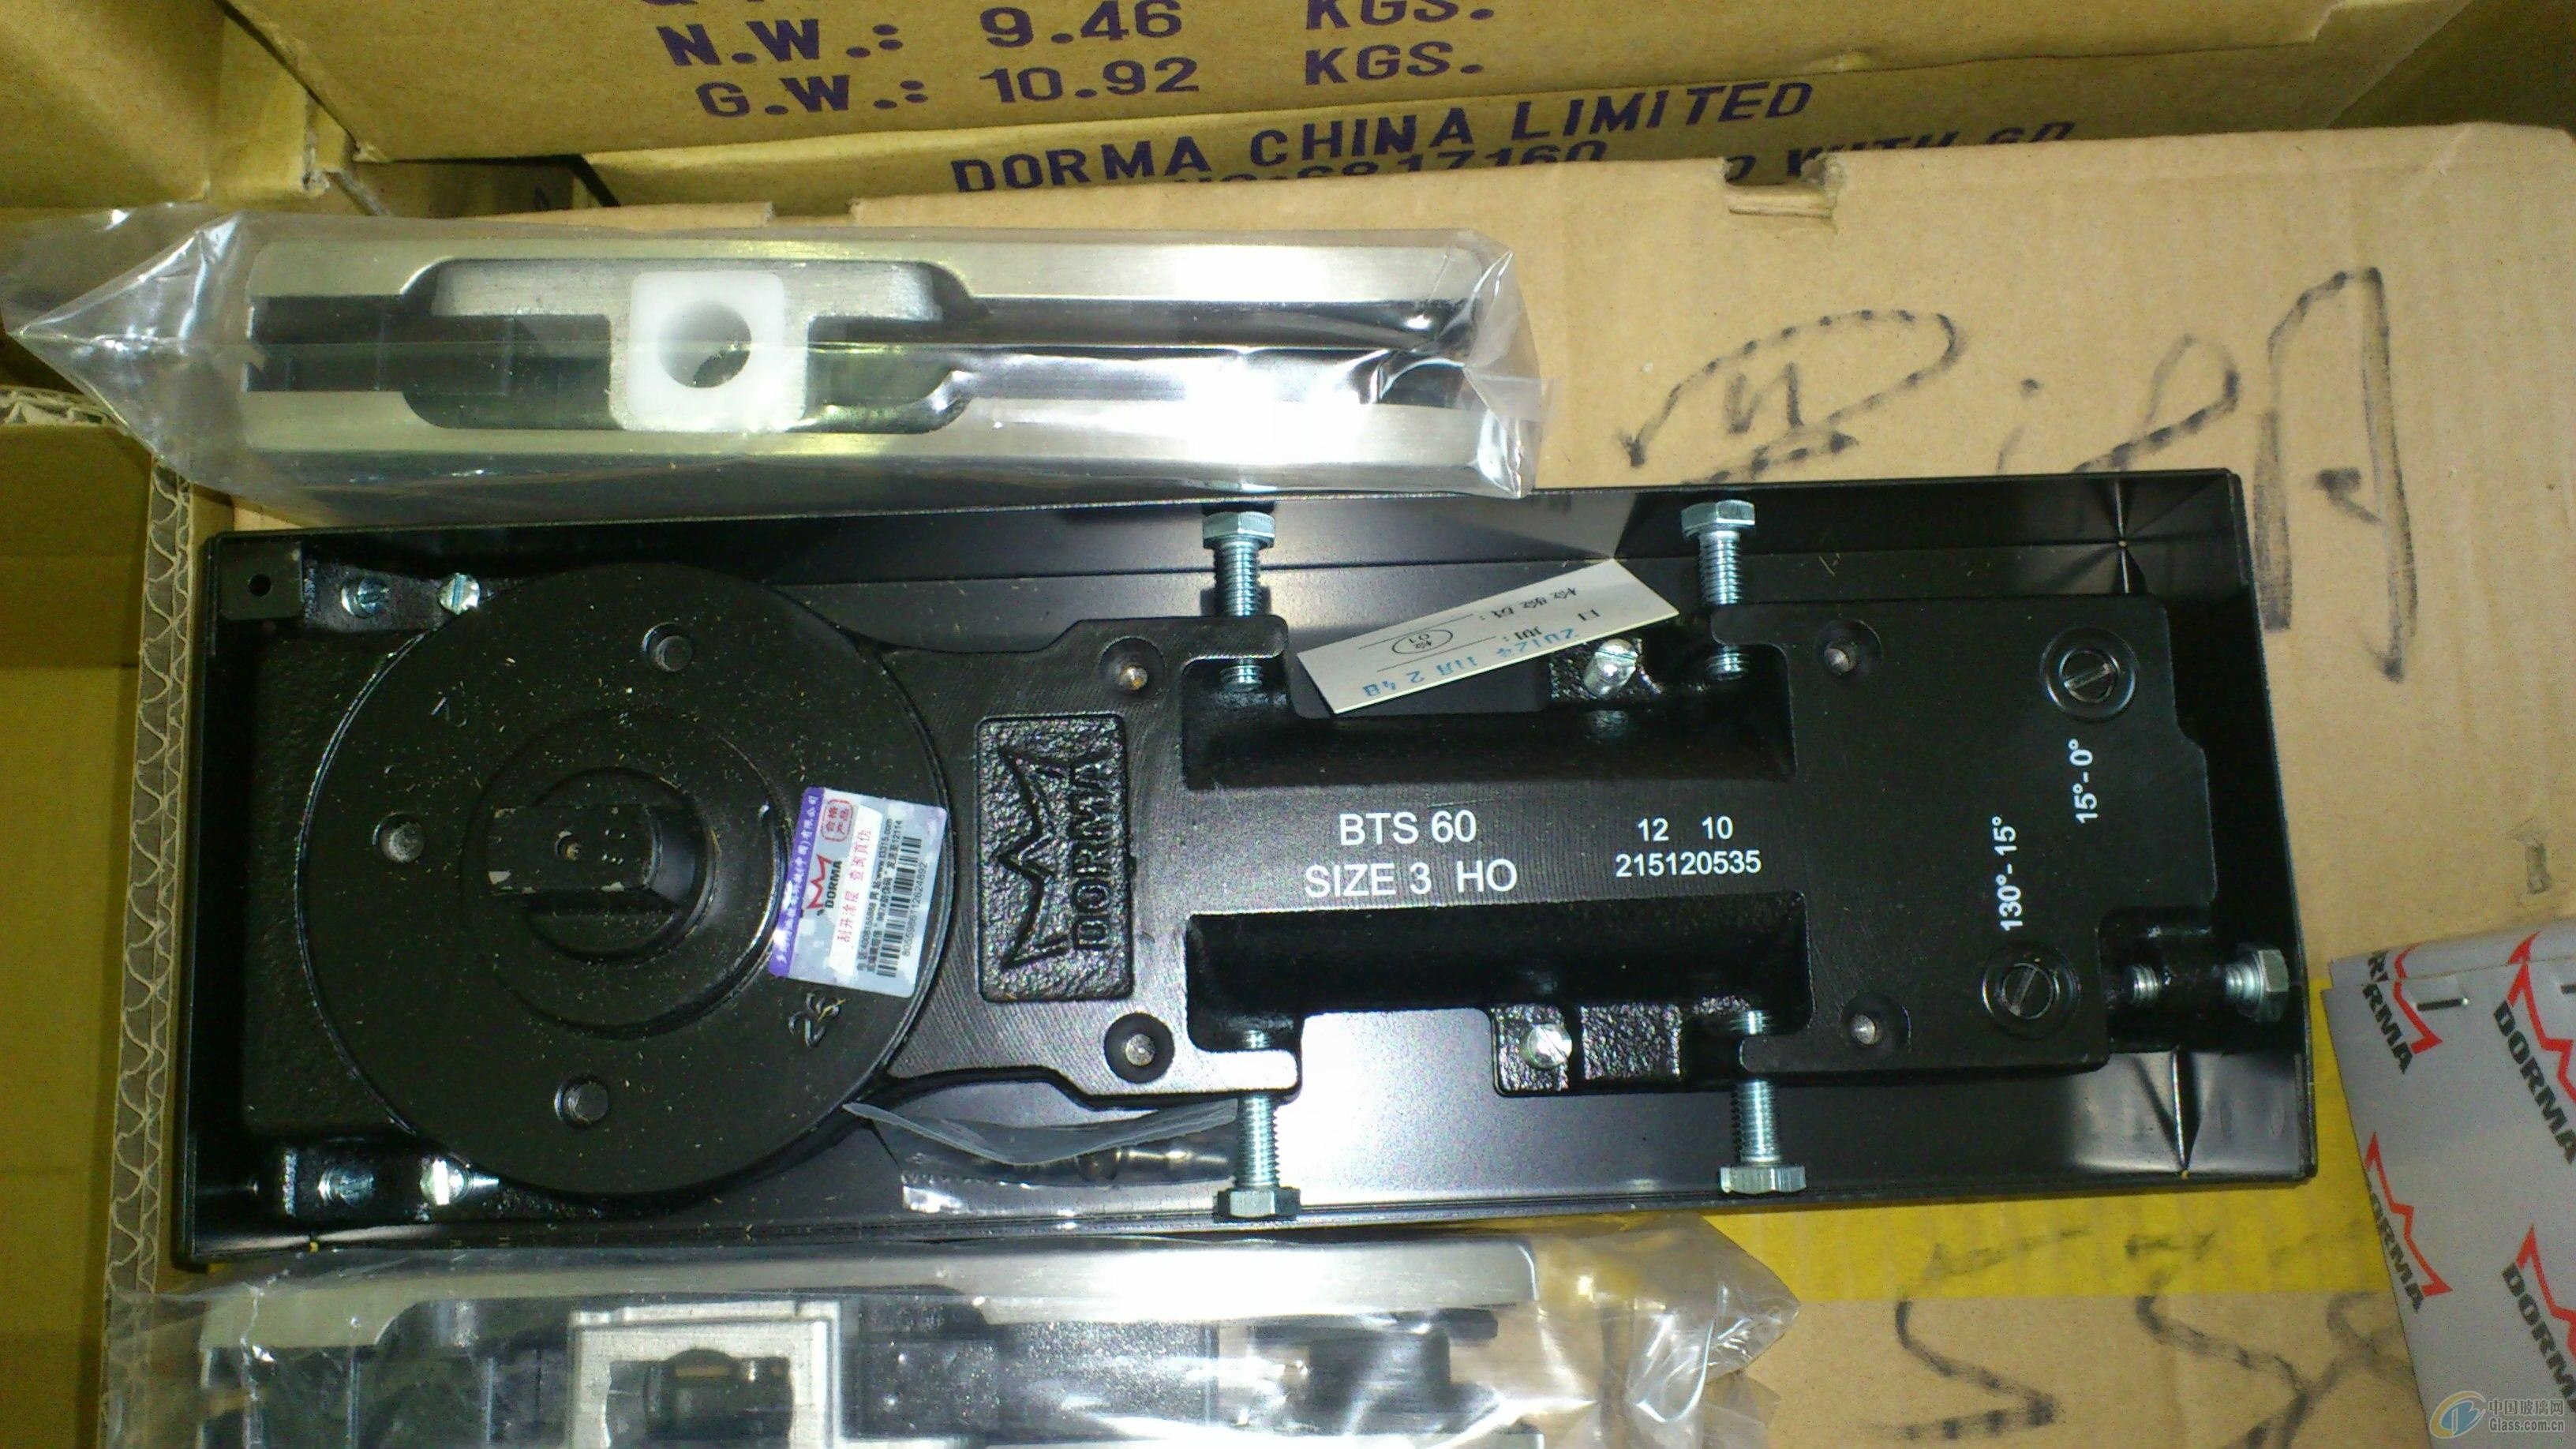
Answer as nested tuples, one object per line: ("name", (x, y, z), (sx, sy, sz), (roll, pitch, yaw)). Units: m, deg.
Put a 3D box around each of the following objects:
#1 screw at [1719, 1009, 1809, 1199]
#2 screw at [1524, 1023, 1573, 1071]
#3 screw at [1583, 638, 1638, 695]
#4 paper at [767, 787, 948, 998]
("screw", (0.502, 0.410, 2.743), (0.098, 0.088, 0.187), (0, 85, -10))
("screw", (0.275, 0.348, 2.761), (0.051, 0.015, 0.049), (-13, 83, 4))
("screw", (0.345, -0.063, 2.792), (0.036, 0.051, 0.031), (28, 52, -15))
("paper", (-0.451, 0.171, 2.693), (0.208, 0.049, 0.208), (8, 89, 0))
